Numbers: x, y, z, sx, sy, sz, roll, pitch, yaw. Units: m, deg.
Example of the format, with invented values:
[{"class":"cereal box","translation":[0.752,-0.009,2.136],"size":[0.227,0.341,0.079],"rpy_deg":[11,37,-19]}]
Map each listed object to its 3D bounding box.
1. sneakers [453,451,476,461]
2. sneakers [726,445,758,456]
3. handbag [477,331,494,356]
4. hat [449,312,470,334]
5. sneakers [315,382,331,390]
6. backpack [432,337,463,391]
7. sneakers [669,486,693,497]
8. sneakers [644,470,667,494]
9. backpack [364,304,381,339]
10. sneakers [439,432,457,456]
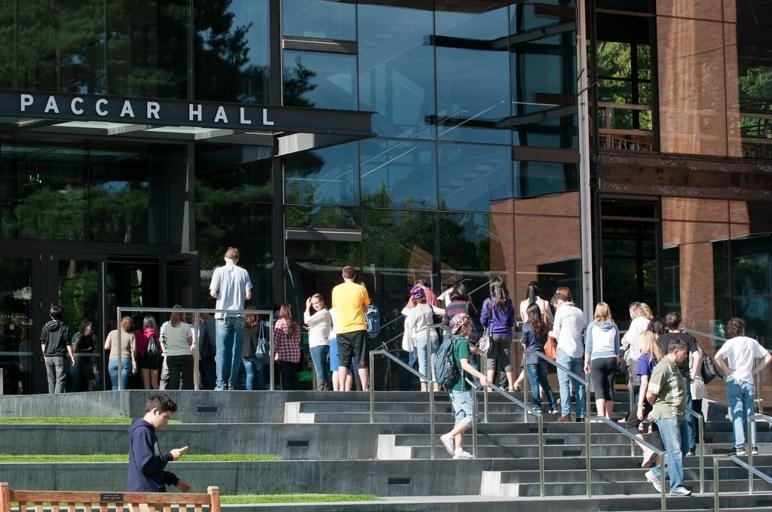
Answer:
[{"class":"sneakers","translation":[1.597,4.032,35.951],"size":[0.418,0.175,0.164],"rpy_deg":[1,0,-22]},{"class":"sneakers","translation":[7.489,4.112,37.531],"size":[0.656,0.249,0.238],"rpy_deg":[1,-1,-27]},{"class":"handbag","translation":[2.224,1.933,39.388],"size":[0.161,0.502,0.499],"rpy_deg":[11,-15,-16]},{"class":"hat","translation":[1.521,1.332,35.942],"size":[0.374,0.401,0.413],"rpy_deg":[-2,-6,3]},{"class":"sneakers","translation":[-1.404,2.906,39.613],"size":[0.218,0.200,0.215],"rpy_deg":[2,-1,3]},{"class":"backpack","translation":[1.221,2.138,35.824],"size":[0.284,1.094,0.568],"rpy_deg":[4,-8,-44]},{"class":"sneakers","translation":[5.846,4.689,35.316],"size":[0.434,0.192,0.169],"rpy_deg":[-2,-3,11]},{"class":"sneakers","translation":[5.394,4.547,35.863],"size":[0.493,0.227,0.175],"rpy_deg":[39,31,30]},{"class":"backpack","translation":[-0.348,1.444,39.597],"size":[0.339,0.680,0.427],"rpy_deg":[-5,-6,31]},{"class":"sneakers","translation":[1.287,3.759,36.103],"size":[0.271,0.593,0.199],"rpy_deg":[-20,15,6]}]
